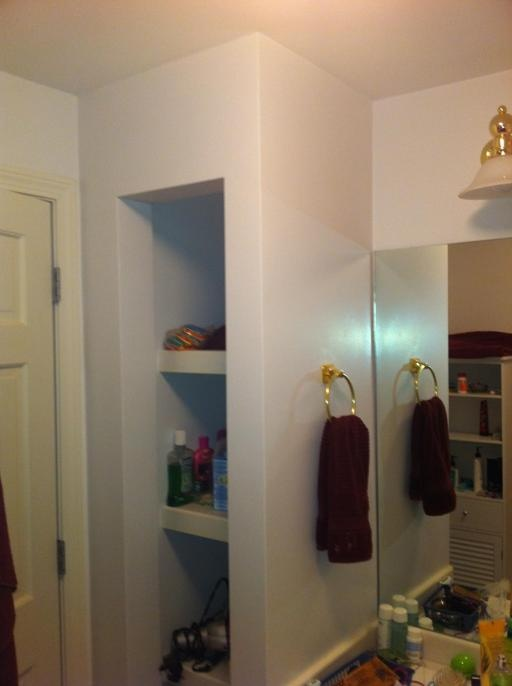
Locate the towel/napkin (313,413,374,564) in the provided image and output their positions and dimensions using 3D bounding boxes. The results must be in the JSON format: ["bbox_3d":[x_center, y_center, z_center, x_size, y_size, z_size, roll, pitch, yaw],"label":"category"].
[{"bbox_3d":[0.235,0.362,1.533,0.211,0.356,0.110,-2,0,-37],"label":"towel/napkin"}]

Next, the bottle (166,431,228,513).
[{"bbox_3d":[-0.165,0.342,1.667,0.175,0.241,0.169,-1,0,0],"label":"bottle"}]

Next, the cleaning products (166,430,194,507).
[{"bbox_3d":[-0.215,0.356,1.710,0.052,0.200,0.086,0,1,20],"label":"cleaning products"}]

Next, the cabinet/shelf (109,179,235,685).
[{"bbox_3d":[-0.159,0.237,1.754,0.257,1.291,0.483,-2,0,23],"label":"cabinet/shelf"}]
